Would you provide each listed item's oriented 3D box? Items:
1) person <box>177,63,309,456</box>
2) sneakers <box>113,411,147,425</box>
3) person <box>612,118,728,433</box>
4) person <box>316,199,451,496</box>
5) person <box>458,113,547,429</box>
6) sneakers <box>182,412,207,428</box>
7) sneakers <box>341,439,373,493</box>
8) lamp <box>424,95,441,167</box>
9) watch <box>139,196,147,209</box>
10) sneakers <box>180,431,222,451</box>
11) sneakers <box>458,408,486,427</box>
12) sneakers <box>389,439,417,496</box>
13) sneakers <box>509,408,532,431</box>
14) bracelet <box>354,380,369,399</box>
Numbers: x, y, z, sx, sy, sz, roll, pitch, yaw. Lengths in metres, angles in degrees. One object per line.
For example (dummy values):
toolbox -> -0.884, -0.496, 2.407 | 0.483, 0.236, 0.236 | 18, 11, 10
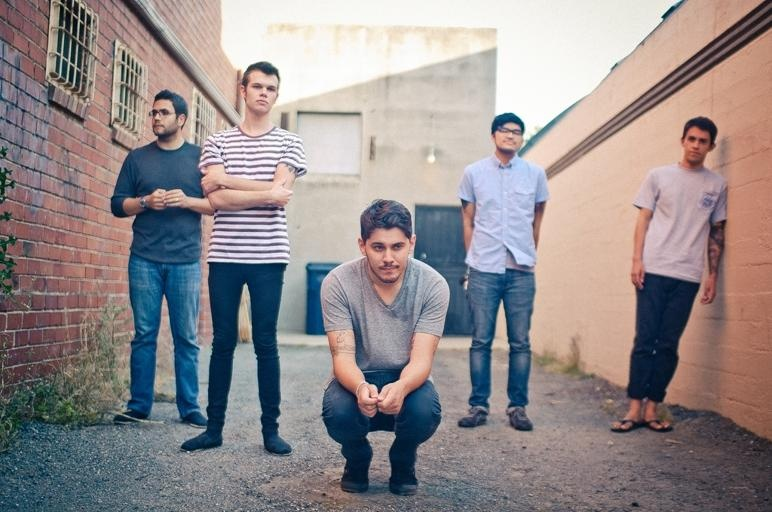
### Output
person -> -1.055, 0.000, 4.737 | 0.817, 2.981, 0.496 | 1, 4, -5
sneakers -> -2.126, 1.342, 5.123 | 0.248, 0.104, 0.097 | 10, -7, -13
person -> 2.435, 0.163, 5.181 | 0.704, 2.640, 0.607 | 4, 5, 27
person -> -0.001, 0.609, 4.146 | 0.860, 1.957, 0.484 | 1, 4, -7
person -> 1.032, 0.098, 5.616 | 0.818, 2.789, 0.761 | 3, 4, 14
sneakers -> -1.608, 1.376, 5.174 | 0.216, 0.087, 0.112 | -4, -7, 33
sneakers -> -0.196, 1.394, 4.151 | 0.206, 0.364, 0.145 | 0, 4, -15
lamp -> 1.023, -2.475, 13.124 | 0.266, 1.061, 0.337 | 2, 4, 1
watch -> -2.040, -0.429, 5.188 | 0.058, 0.090, 0.084 | 9, 5, -8
sneakers -> -1.389, 1.403, 4.680 | 0.320, 0.198, 0.111 | 11, -7, -22
sneakers -> 0.788, 1.439, 5.450 | 0.299, 0.126, 0.109 | 8, -12, -41
sneakers -> 0.124, 1.396, 4.132 | 0.197, 0.386, 0.142 | 2, 4, 1
sneakers -> 1.183, 1.424, 5.373 | 0.153, 0.165, 0.244 | 1, 4, -12
bracelet -> -0.158, 0.874, 3.950 | 0.070, 0.079, 0.091 | -3, -3, 4
